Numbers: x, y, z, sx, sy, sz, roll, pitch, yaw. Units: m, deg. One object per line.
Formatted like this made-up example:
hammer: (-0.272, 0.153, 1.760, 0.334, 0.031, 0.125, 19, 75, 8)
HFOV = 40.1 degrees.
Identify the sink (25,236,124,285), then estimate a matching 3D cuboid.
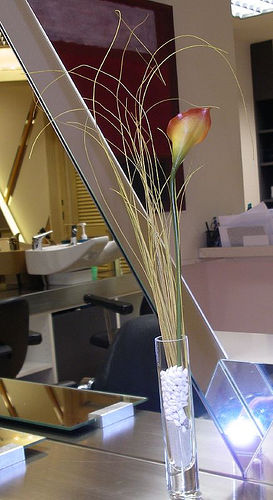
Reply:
sink: (-0.421, 0.091, 2.465, 0.629, 0.274, 0.474, -5, -4, -3)

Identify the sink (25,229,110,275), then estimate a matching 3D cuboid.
sink: (-0.454, 0.033, 2.556, 0.496, 0.321, 0.541, 1, 3, 26)

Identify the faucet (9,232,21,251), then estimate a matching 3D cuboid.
faucet: (-0.901, -0.050, 2.836, 0.065, 0.141, 0.124, 2, -7, -23)
